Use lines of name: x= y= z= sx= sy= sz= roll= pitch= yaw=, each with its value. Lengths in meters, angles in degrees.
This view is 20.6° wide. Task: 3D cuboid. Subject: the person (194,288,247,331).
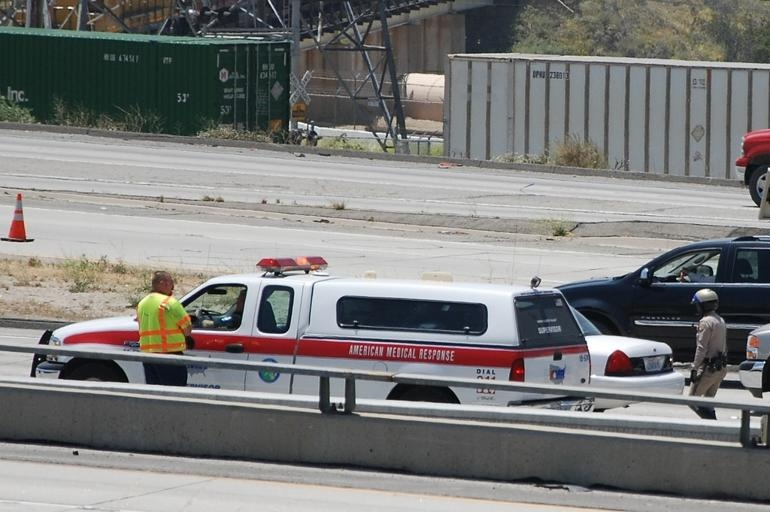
person: x=-5.018 y=1.781 z=63.790 sx=1.263 sy=0.903 sz=1.324 roll=3 pitch=0 yaw=1

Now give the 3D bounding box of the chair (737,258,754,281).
chair: x=11.037 y=0.555 z=65.928 sx=0.537 sy=0.652 sz=0.599 roll=3 pitch=10 yaw=13

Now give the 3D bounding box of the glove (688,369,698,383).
glove: x=9.156 y=3.678 z=63.804 sx=0.125 sy=0.363 sz=0.249 roll=7 pitch=-5 yaw=-14
